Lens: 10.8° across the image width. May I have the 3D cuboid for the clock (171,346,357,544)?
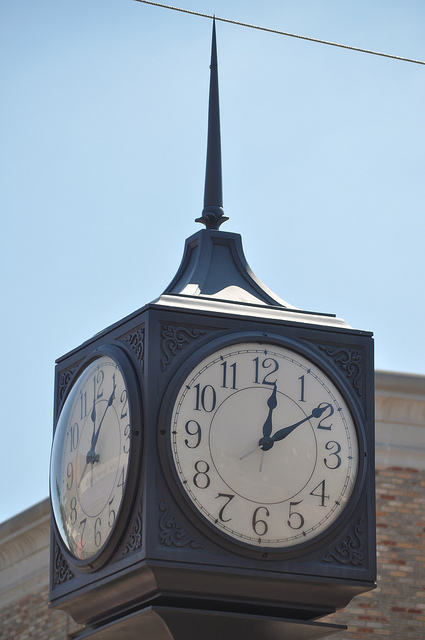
[{"bbox_3d":[0.153,0.446,7.647,0.547,0.626,0.060,8,-21,-28],"label":"clock"}]

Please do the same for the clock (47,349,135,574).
[{"bbox_3d":[-0.402,0.517,7.749,0.092,0.837,0.689,7,3,-21],"label":"clock"}]
